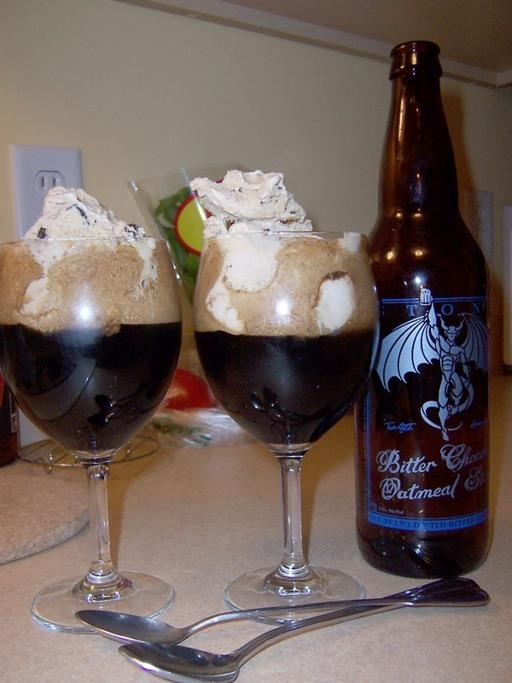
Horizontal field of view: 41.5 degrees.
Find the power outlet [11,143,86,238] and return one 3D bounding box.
[{"bbox_3d":[-0.297,-0.192,0.965,0.015,0.168,0.113,16,21,36],"label":"power outlet"}]

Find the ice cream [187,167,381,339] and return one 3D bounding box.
[{"bbox_3d":[0.023,-0.052,0.486,0.103,0.130,0.089,-9,12,-34],"label":"ice cream"}]

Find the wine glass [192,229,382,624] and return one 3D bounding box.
[{"bbox_3d":[0.017,0.050,0.515,0.130,0.263,0.115,-5,12,-36],"label":"wine glass"}]
